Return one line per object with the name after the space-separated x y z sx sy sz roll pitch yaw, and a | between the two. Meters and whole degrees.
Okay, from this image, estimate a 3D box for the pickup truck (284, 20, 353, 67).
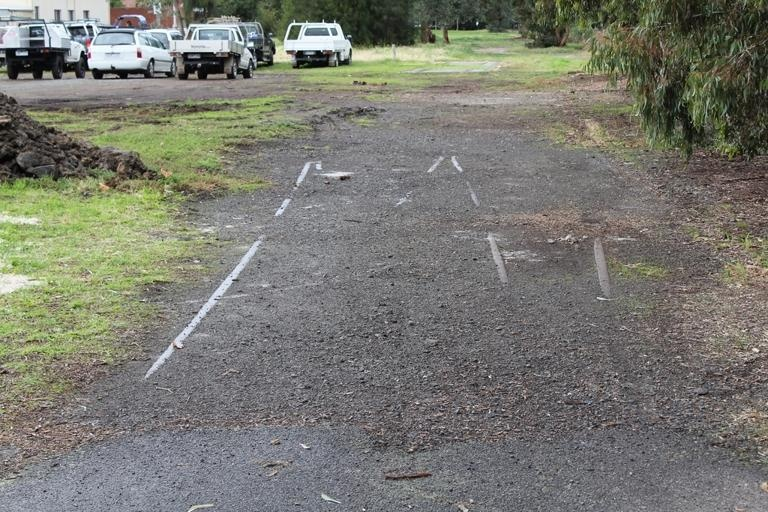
-3.285 -10.894 41.996 2.768 1.600 4.353 3 22 6 | pickup truck
